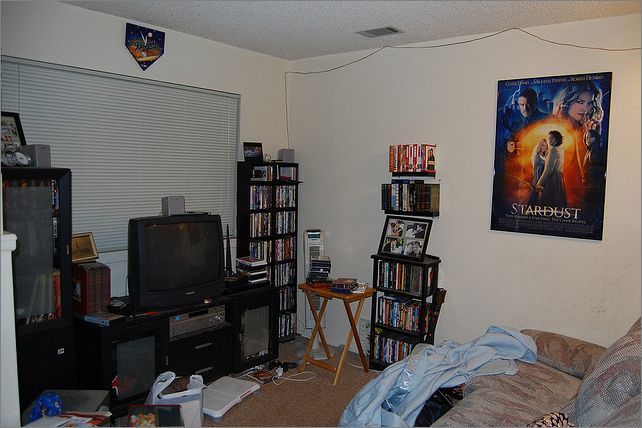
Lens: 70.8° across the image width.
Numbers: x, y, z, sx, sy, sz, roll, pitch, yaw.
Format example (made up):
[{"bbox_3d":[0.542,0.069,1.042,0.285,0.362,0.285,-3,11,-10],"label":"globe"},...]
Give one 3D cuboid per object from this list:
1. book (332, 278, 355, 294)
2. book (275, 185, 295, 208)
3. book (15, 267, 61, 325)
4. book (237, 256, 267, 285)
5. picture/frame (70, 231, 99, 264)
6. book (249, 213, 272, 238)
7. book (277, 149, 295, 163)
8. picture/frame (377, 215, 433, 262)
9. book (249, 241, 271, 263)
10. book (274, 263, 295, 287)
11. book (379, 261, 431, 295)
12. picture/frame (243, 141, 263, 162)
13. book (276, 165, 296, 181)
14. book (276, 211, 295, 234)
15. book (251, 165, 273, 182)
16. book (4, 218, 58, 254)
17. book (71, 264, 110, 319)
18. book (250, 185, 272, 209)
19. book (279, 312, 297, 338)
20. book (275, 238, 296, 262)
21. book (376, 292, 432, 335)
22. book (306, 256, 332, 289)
[{"bbox_3d":[0.239,0.756,4.747,0.264,0.118,0.239,3,3,26],"label":"book"},{"bbox_3d":[-0.457,-0.226,5.582,0.090,0.237,0.285,-6,-5,38],"label":"book"},{"bbox_3d":[-2.353,0.694,3.765,0.100,0.370,0.412,5,3,30],"label":"book"},{"bbox_3d":[-0.760,0.597,5.010,0.251,0.245,0.405,-4,9,-38],"label":"book"},{"bbox_3d":[-2.208,0.320,4.184,0.025,0.345,0.320,-11,-9,36],"label":"picture/frame"},{"bbox_3d":[-0.725,0.128,5.386,0.046,0.283,0.277,5,5,44],"label":"book"},{"bbox_3d":[-0.428,-0.724,5.730,0.187,0.179,0.179,3,0,-32],"label":"book"},{"bbox_3d":[0.916,0.268,4.811,0.510,0.441,0.034,8,-19,38],"label":"picture/frame"},{"bbox_3d":[-0.721,0.432,5.408,0.234,0.295,0.312,1,-1,-2],"label":"book"},{"bbox_3d":[-0.466,0.753,5.616,0.306,0.272,0.105,-5,8,-44],"label":"book"},{"bbox_3d":[0.842,0.692,4.836,0.549,0.301,0.566,-1,-7,-1],"label":"book"},{"bbox_3d":[-0.834,-0.744,5.432,0.279,0.281,0.031,7,-18,-31],"label":"picture/frame"},{"bbox_3d":[-0.454,-0.517,5.738,0.253,0.173,0.234,0,-3,-22],"label":"book"},{"bbox_3d":[-0.462,0.104,5.610,0.152,0.259,0.291,3,2,42],"label":"book"},{"bbox_3d":[-0.716,-0.489,5.394,0.260,0.182,0.153,0,4,-23],"label":"book"},{"bbox_3d":[-2.247,0.163,3.465,0.301,0.277,0.154,3,0,-38],"label":"book"},{"bbox_3d":[-2.056,0.699,4.011,0.289,0.490,0.510,0,1,-41],"label":"book"},{"bbox_3d":[-0.733,-0.204,5.368,0.287,0.309,0.044,4,-4,-39],"label":"book"},{"bbox_3d":[-0.394,1.383,5.644,0.250,0.315,0.338,1,-5,-2],"label":"book"},{"bbox_3d":[-0.441,0.418,5.680,0.249,0.312,0.342,-2,-1,40],"label":"book"},{"bbox_3d":[0.861,0.913,4.781,0.596,0.386,0.326,6,6,38],"label":"book"},{"bbox_3d":[-0.021,0.612,4.899,0.370,0.340,0.261,1,-3,-24],"label":"book"}]
